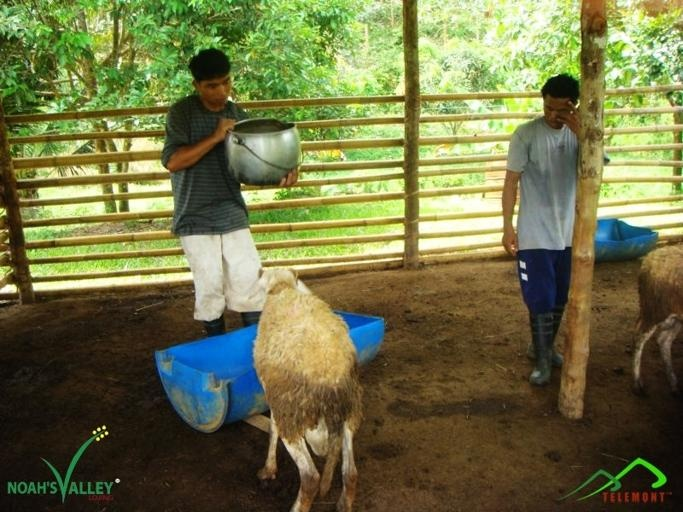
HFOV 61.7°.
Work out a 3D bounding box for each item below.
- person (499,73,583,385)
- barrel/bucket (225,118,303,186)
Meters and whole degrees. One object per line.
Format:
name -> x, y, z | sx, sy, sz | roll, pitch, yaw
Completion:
person -> 1.589, -0.190, 4.606 | 0.610, 2.420, 0.475 | -17, 22, -38
barrel/bucket -> -0.581, -0.749, 4.375 | 0.544, 0.403, 0.572 | -2, 19, 1
